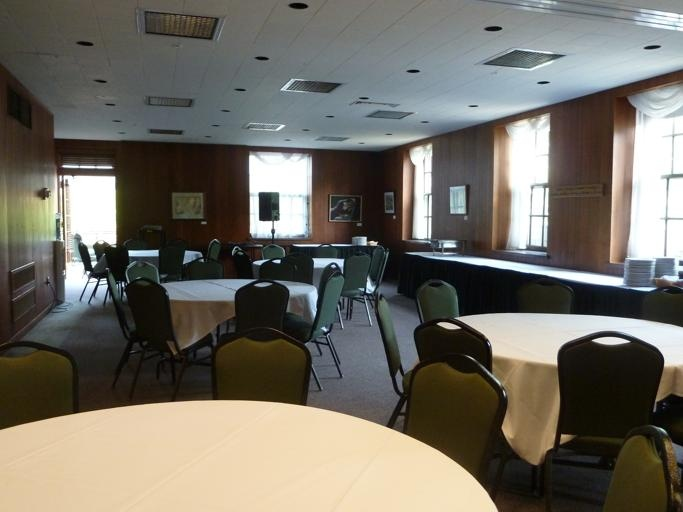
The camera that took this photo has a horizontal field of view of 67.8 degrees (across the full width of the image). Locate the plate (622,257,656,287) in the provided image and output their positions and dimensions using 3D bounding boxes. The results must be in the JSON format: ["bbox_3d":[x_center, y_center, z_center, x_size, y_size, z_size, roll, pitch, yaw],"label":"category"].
[{"bbox_3d":[3.235,0.171,5.567,0.292,0.308,0.298,-1,3,2],"label":"plate"}]

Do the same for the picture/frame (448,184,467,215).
[{"bbox_3d":[2.156,-1.052,9.400,0.057,0.561,0.571,-2,5,-18],"label":"picture/frame"}]

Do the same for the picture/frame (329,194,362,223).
[{"bbox_3d":[0.050,-1.176,12.318,0.657,0.554,0.046,0,9,-12],"label":"picture/frame"}]

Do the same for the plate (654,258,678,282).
[{"bbox_3d":[3.487,0.146,5.570,0.239,0.253,0.245,-1,2,-20],"label":"plate"}]

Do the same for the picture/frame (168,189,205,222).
[{"bbox_3d":[-3.496,-1.142,11.336,0.673,0.633,0.069,0,8,-14],"label":"picture/frame"}]

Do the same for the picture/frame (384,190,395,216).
[{"bbox_3d":[1.142,-1.283,12.077,0.084,0.691,0.577,-2,5,-19],"label":"picture/frame"}]
